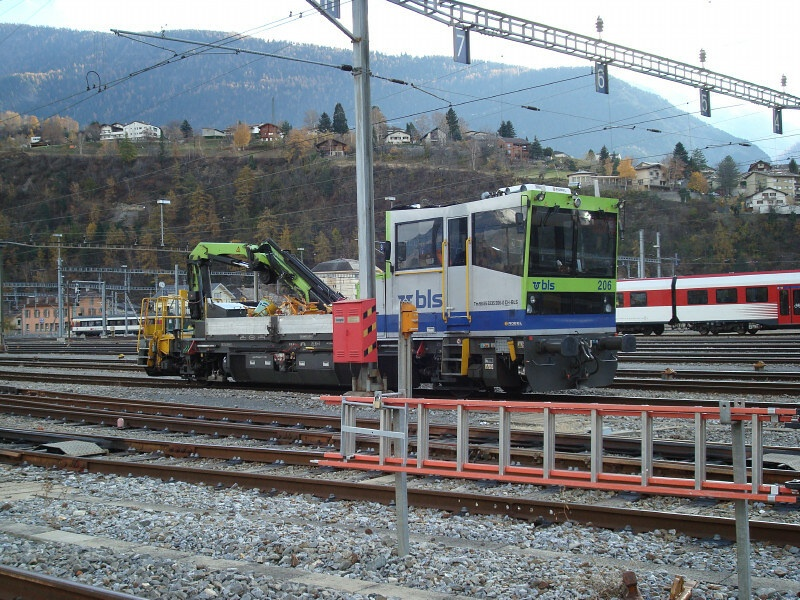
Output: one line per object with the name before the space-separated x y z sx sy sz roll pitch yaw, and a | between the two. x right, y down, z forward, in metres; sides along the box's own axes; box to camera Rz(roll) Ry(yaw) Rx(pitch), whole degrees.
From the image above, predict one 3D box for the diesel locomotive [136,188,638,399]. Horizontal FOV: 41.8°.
diesel locomotive | -1.323 0.235 27.002 14.389 4.564 4.623 -4 -5 42
